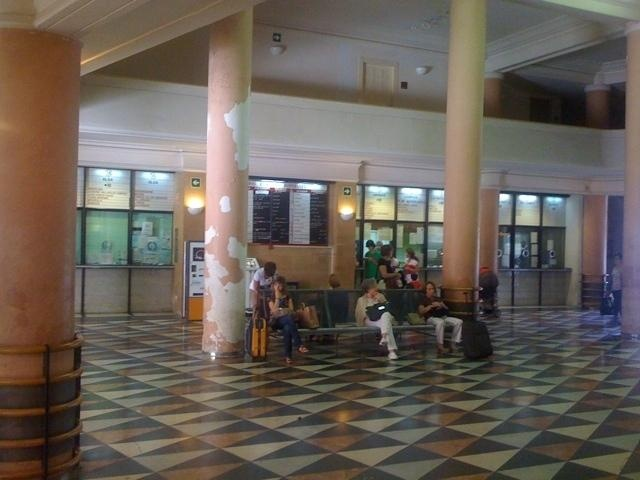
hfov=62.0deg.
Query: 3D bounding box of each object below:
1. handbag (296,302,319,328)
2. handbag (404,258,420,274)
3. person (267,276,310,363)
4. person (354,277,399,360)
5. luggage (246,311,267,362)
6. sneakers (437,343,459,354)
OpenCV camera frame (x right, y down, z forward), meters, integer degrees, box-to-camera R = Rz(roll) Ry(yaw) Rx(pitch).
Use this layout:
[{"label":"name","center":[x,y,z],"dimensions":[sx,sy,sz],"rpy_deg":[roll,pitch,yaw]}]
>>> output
[{"label":"handbag","center":[-0.218,1.246,8.770],"dimensions":[0.153,0.341,0.387],"rpy_deg":[-26,6,-12]},{"label":"handbag","center":[2.180,0.609,12.598],"dimensions":[0.414,0.394,0.278],"rpy_deg":[0,-13,8]},{"label":"person","center":[-0.514,1.228,8.493],"dimensions":[0.594,1.016,0.811],"rpy_deg":[1,0,-2]},{"label":"person","center":[0.992,1.294,8.918],"dimensions":[0.624,0.852,0.975],"rpy_deg":[1,0,-18]},{"label":"luggage","center":[-0.960,1.512,8.176],"dimensions":[0.307,0.535,0.248],"rpy_deg":[1,0,-10]},{"label":"sneakers","center":[2.205,1.877,9.407],"dimensions":[0.189,0.200,0.522],"rpy_deg":[1,-6,-28]}]
